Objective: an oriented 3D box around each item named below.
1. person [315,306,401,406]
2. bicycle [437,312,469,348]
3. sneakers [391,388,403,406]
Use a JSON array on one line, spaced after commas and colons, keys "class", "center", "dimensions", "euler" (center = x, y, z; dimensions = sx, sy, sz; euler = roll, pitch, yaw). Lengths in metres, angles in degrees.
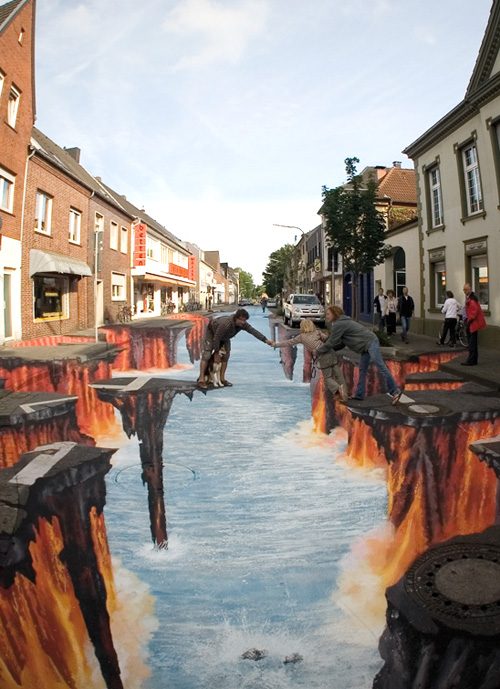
[{"class": "person", "center": [1.447, 0.088, 7.223], "dimensions": [0.928, 1.177, 1.377], "euler": [0, 5, -12]}, {"class": "bicycle", "center": [6.392, -0.361, 16.678], "dimensions": [0.687, 0.821, 1.366], "euler": [-2, 4, -13]}, {"class": "sneakers", "center": [1.633, 0.603, 5.821], "dimensions": [0.135, 0.171, 0.404], "euler": [3, 16, 16]}]
